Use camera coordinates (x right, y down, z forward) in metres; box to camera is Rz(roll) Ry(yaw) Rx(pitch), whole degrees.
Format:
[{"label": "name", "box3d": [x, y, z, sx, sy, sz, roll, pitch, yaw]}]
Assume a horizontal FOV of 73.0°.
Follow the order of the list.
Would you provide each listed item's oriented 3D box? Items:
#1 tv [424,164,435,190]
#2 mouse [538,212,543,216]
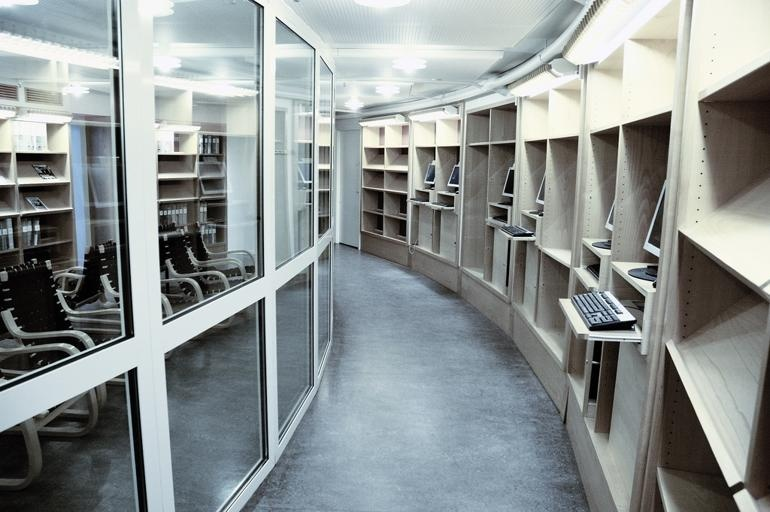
[{"label": "tv", "box3d": [0.660, -1.159, 7.749, 0.145, 0.441, 0.422, -4, 6, -10]}, {"label": "mouse", "box3d": [1.387, -0.368, 4.654, 0.042, 0.012, 0.047, -7, 8, 6]}]
